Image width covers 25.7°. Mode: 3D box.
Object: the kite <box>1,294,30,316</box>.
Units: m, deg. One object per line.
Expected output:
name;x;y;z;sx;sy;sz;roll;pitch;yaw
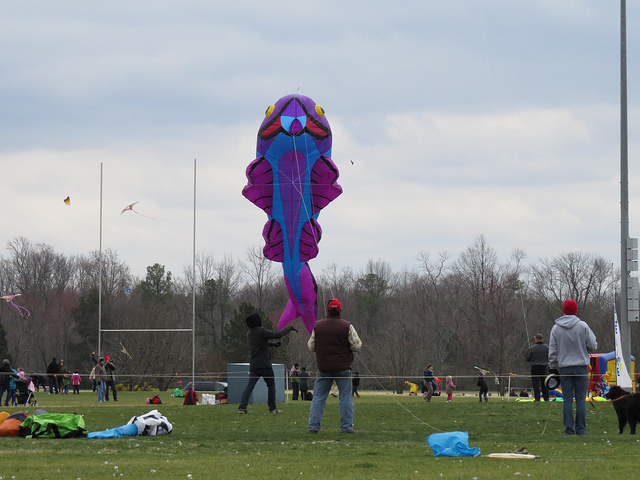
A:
kite;-21.429;4.676;99.433;1.928;0.412;1.316;38;29;20

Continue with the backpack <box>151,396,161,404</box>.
backpack;-6.751;6.629;57.690;0.248;0.364;0.357;0;-3;2
